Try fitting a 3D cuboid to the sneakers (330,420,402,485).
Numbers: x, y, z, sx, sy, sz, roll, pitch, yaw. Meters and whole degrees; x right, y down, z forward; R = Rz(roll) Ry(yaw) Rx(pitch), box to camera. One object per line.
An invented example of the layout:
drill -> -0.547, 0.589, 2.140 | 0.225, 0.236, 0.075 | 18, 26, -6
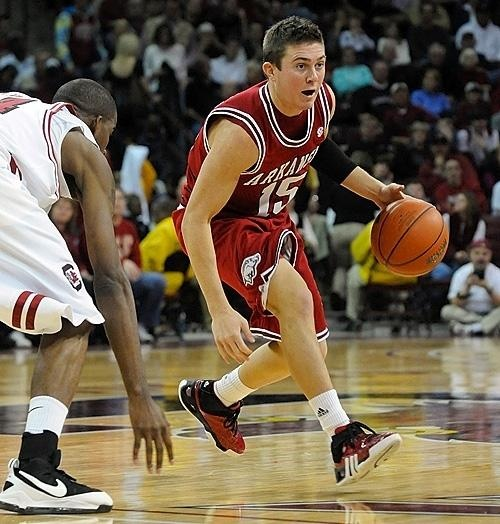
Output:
sneakers -> 0.308, 0.506, 1.647 | 0.106, 0.262, 0.148 | 2, 51, -24
